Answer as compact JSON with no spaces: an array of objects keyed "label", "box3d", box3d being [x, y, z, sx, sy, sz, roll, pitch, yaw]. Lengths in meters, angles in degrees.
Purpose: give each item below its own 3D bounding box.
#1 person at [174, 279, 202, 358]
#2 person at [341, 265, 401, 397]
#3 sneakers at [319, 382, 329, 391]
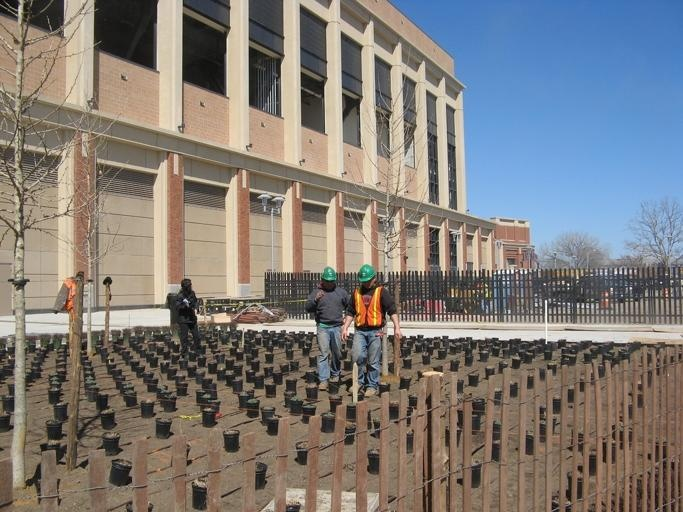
[{"label":"person","box3d":[-3.633,1.373,19.670,0.640,1.880,0.671,18,26,38]},{"label":"person","box3d":[0.530,1.367,15.802,1.036,2.493,1.303,0,-7,-16]},{"label":"sneakers","box3d":[-0.361,2.527,16.384,0.115,0.144,0.310,-1,-12,2]}]
